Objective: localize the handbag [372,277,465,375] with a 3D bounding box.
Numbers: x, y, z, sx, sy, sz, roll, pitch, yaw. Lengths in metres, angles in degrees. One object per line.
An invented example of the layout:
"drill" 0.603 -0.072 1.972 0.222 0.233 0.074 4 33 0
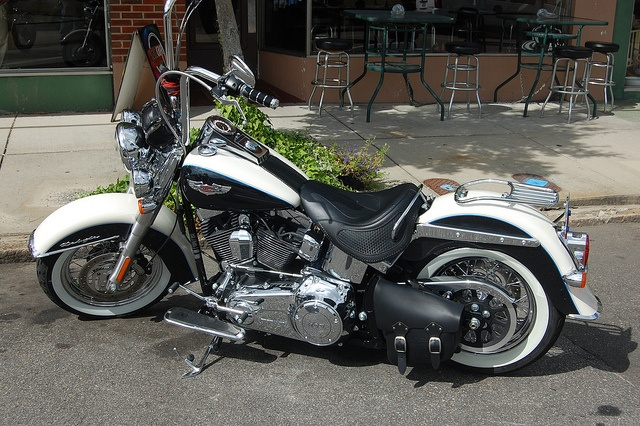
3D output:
"handbag" 0.772 0.908 3.876 0.630 0.638 0.342 -2 7 14

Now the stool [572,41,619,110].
"stool" 6.248 -3.123 11.046 0.868 1.356 0.837 -16 22 -39

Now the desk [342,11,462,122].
"desk" 1.590 -3.369 10.844 1.863 2.154 1.943 -2 23 -7
